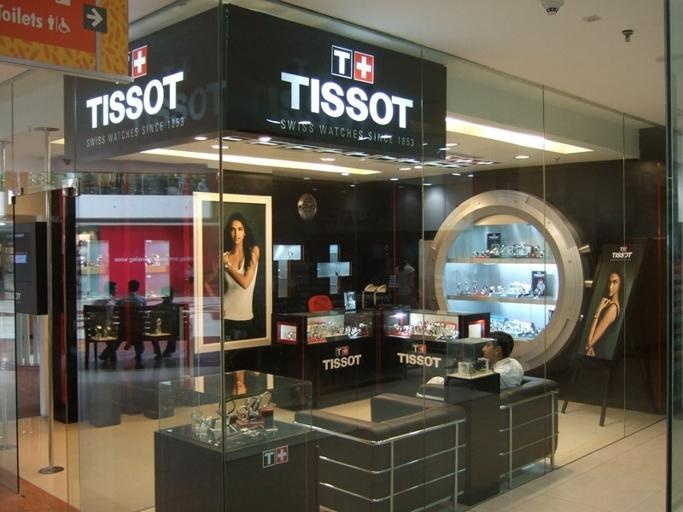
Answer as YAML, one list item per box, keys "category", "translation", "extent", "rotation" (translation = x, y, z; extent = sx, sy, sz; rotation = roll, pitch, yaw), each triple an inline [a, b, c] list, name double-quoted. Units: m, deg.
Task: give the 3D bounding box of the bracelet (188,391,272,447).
- category: "bracelet"
  translation: [-0.731, 1.024, 4.113]
  extent: [0.380, 0.100, 0.378]
  rotation: [5, 8, 44]

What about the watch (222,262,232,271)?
- category: "watch"
  translation: [-0.763, 0.068, 4.040]
  extent: [0.032, 0.047, 0.044]
  rotation: [7, 9, 16]

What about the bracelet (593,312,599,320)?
- category: "bracelet"
  translation: [2.735, 0.645, 6.532]
  extent: [0.020, 0.079, 0.097]
  rotation: [-3, -15, 35]
